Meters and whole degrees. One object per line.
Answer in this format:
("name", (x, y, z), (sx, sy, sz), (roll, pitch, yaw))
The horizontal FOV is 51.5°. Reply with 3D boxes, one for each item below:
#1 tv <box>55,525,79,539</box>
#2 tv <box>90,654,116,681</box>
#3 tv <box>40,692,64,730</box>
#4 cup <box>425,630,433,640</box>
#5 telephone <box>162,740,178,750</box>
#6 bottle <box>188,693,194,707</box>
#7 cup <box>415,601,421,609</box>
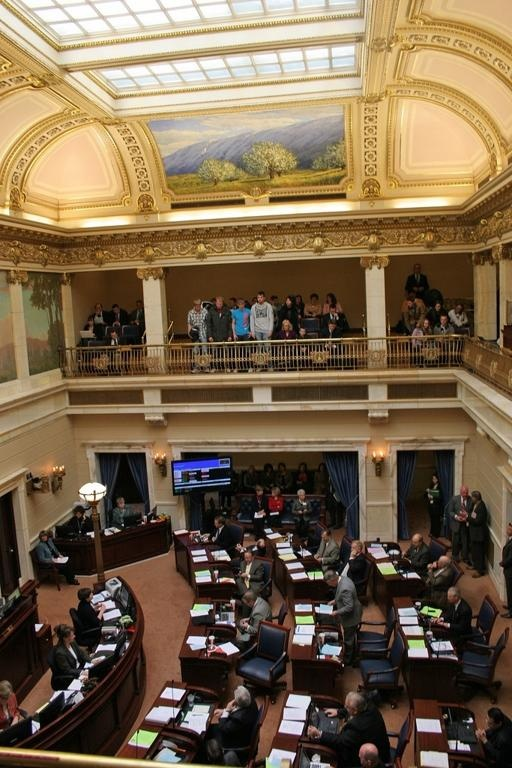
("tv", (-4.459, 3.497, 12.531), (0.386, 0.285, 0.302), (6, 24, -1))
("tv", (-2.053, 3.846, 7.174), (0.372, 0.237, 0.285), (-6, 5, -21))
("tv", (-2.332, 3.731, 6.094), (0.096, 0.289, 0.397), (6, 14, 10))
("cup", (2.527, 3.645, 7.742), (0.099, 0.096, 0.088), (3, -6, 8))
("telephone", (-0.943, 3.978, 5.897), (0.104, 0.051, 0.062), (12, -5, 21))
("bottle", (-0.816, 3.962, 6.673), (0.019, 0.166, 0.118), (-9, -4, 33))
("cup", (2.670, 3.627, 8.751), (0.070, 0.080, 0.121), (8, 11, 3))
